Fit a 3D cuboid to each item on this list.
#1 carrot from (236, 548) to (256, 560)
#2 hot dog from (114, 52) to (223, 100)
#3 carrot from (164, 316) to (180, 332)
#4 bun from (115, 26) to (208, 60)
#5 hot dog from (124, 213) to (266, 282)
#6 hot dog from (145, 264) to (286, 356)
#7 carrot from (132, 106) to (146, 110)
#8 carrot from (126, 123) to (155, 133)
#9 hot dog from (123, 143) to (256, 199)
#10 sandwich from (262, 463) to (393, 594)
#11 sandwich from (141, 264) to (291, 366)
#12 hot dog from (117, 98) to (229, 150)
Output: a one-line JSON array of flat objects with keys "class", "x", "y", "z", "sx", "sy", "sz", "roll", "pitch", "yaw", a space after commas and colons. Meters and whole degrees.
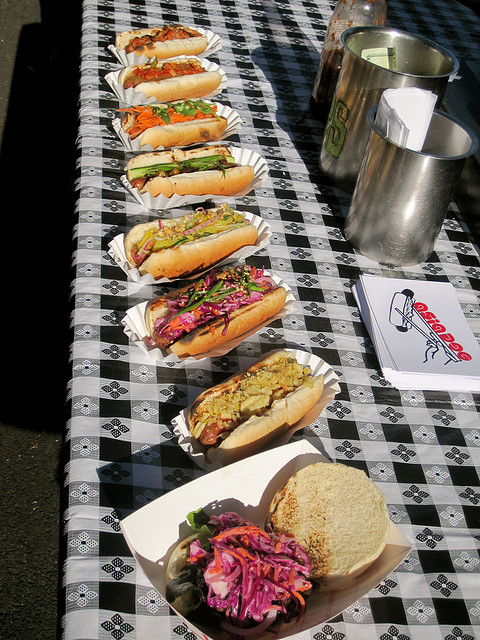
[{"class": "carrot", "x": 0.008, "y": 0.340, "z": 0.804, "sx": 0.030, "sy": 0.016, "sz": 0.011, "roll": 36, "pitch": 56, "yaw": 23}, {"class": "hot dog", "x": -0.274, "y": -0.993, "z": 2.300, "sx": 0.446, "sy": 0.122, "sz": 0.220, "roll": -15, "pitch": 56, "yaw": -21}, {"class": "carrot", "x": -0.164, "y": 0.005, "z": 1.340, "sx": 0.044, "sy": 0.010, "sz": 0.024, "roll": -35, "pitch": 85, "yaw": -16}, {"class": "bun", "x": -0.332, "y": -1.226, "z": 2.454, "sx": 0.383, "sy": 0.103, "sz": 0.183, "roll": -15, "pitch": 57, "yaw": -16}, {"class": "hot dog", "x": -0.082, "y": -0.233, "z": 1.695, "sx": 0.528, "sy": 0.149, "sz": 0.155, "roll": -14, "pitch": 58, "yaw": -21}, {"class": "hot dog", "x": -0.047, "y": -0.017, "z": 1.489, "sx": 0.388, "sy": 0.129, "sz": 0.175, "roll": -17, "pitch": 61, "yaw": -28}, {"class": "carrot", "x": -0.374, "y": -0.794, "z": 2.050, "sx": 0.033, "sy": 0.011, "sz": 0.031, "roll": -15, "pitch": 40, "yaw": -31}, {"class": "carrot", "x": -0.352, "y": -0.690, "z": 1.975, "sx": 0.086, "sy": 0.031, "sz": 0.016, "roll": -14, "pitch": 68, "yaw": -29}, {"class": "hot dog", "x": -0.157, "y": -0.484, "z": 1.913, "sx": 0.439, "sy": 0.132, "sz": 0.206, "roll": -12, "pitch": 52, "yaw": -15}, {"class": "sandwich", "x": 0.150, "y": 0.332, "z": 0.924, "sx": 0.178, "sy": 0.106, "sz": 0.191, "roll": -15, "pitch": 43, "yaw": -3}, {"class": "sandwich", "x": -0.050, "y": -0.032, "z": 1.431, "sx": 0.364, "sy": 0.107, "sz": 0.227, "roll": -24, "pitch": 67, "yaw": -26}, {"class": "hot dog", "x": -0.240, "y": -0.709, "z": 2.105, "sx": 0.425, "sy": 0.137, "sz": 0.184, "roll": -14, "pitch": 60, "yaw": -16}]
